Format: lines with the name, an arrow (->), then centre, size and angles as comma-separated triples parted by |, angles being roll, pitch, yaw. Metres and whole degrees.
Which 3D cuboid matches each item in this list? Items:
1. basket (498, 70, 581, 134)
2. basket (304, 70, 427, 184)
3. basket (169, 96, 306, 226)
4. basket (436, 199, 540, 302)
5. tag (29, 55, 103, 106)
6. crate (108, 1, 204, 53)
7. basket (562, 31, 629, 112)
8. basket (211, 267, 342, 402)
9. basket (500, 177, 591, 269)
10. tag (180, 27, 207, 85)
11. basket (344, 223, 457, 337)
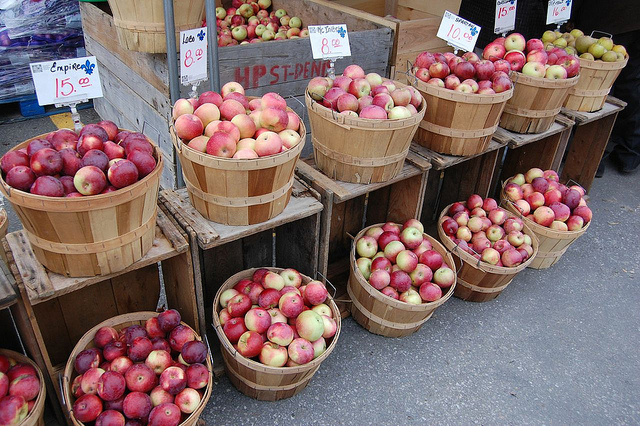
basket -> 1.905, -0.997, 3.859 | 0.545, 0.472, 0.596 | -1, 39, -11
basket -> 0.254, -0.680, 3.205 | 0.713, 0.830, 0.772 | -11, 28, -26
basket -> -0.571, -0.405, 2.836 | 0.785, 0.770, 0.692 | -13, 33, -36
basket -> 1.422, 0.187, 3.773 | 0.704, 0.611, 0.800 | 11, 41, -2
tag -> -1.523, -0.801, 2.542 | 0.361, 0.273, 0.029 | -14, 3, -18
crate -> -1.254, -1.433, 3.129 | 0.468, 0.324, 0.476 | -20, 38, -33
basket -> 2.649, -1.458, 4.306 | 0.561, 0.681, 0.642 | 28, 29, 21
basket -> -0.375, 1.056, 3.226 | 0.907, 1.028, 0.716 | -19, 42, -28
basket -> 1.993, 0.098, 4.025 | 0.644, 0.572, 0.720 | 1, 42, -12
tag -> -0.898, -1.143, 2.999 | 0.143, 0.417, 0.223 | -21, 36, -33
basket -> 0.635, 0.632, 3.476 | 0.770, 0.593, 0.850 | 4, 46, -16
